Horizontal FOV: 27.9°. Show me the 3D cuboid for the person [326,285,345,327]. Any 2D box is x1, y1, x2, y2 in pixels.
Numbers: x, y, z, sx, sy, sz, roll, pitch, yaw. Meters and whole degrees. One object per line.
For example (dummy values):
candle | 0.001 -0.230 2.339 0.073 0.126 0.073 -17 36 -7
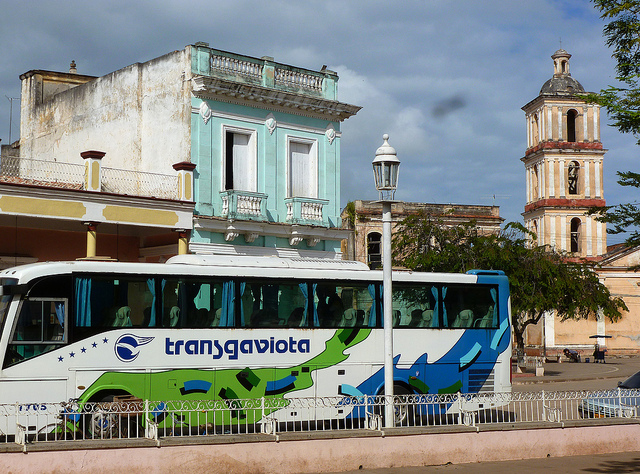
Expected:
person | 0.413 1.991 39.354 0.600 0.511 1.572 -9 32 -9
